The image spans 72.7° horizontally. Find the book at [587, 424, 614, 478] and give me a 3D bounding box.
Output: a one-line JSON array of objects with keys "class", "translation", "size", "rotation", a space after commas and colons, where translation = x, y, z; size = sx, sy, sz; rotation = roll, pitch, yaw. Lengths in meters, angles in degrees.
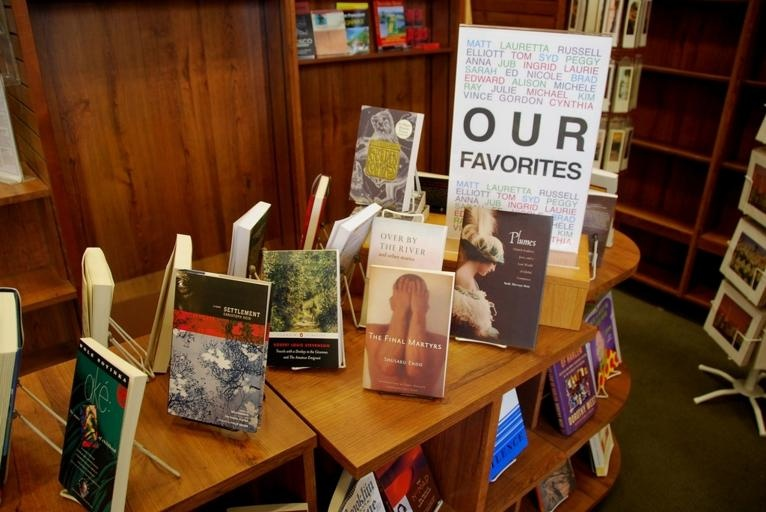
[{"class": "book", "translation": [1.208, 1.087, 2.907], "size": [0.068, 0.344, 0.313], "rotation": [14, -7, 32]}]

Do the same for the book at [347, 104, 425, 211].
[{"class": "book", "translation": [0.008, -0.450, 2.446], "size": [0.327, 0.452, 0.262], "rotation": [0, 22, -1]}]

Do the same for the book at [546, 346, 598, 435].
[{"class": "book", "translation": [0.979, 0.645, 2.595], "size": [0.406, 0.377, 0.130], "rotation": [-18, 28, -37]}]

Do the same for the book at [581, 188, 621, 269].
[{"class": "book", "translation": [1.027, -0.124, 2.472], "size": [0.161, 0.296, 0.308], "rotation": [9, 23, 12]}]
